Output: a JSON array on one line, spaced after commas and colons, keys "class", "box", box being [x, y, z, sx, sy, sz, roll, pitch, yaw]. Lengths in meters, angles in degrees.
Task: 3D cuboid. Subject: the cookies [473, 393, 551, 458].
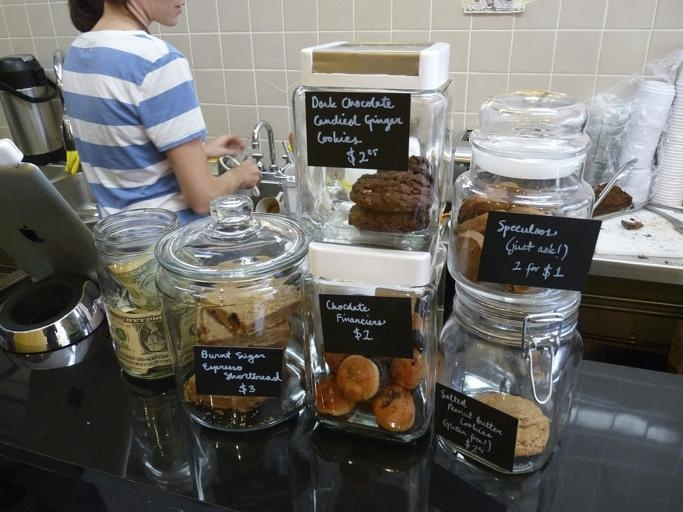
[{"class": "cookies", "box": [0.273, 0.250, 0.796, 0.097, 0.050, 0.096, 2, 12, 2]}]

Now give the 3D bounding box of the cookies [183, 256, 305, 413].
[{"class": "cookies", "box": [-0.129, 0.116, 0.926, 0.238, 0.265, 0.251, -2, 8, -6]}]

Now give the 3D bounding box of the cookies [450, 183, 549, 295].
[{"class": "cookies", "box": [0.225, -0.022, 0.732, 0.123, 0.115, 0.077, 12, 36, 21]}]

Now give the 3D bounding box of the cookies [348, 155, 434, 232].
[{"class": "cookies", "box": [0.066, -0.089, 0.732, 0.122, 0.040, 0.095, 20, 62, 31]}]

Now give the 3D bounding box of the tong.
[{"class": "tong", "box": [0.939, -0.224, 1.667, 0.350, 0.061, 0.062, -52, 38, -13]}]
